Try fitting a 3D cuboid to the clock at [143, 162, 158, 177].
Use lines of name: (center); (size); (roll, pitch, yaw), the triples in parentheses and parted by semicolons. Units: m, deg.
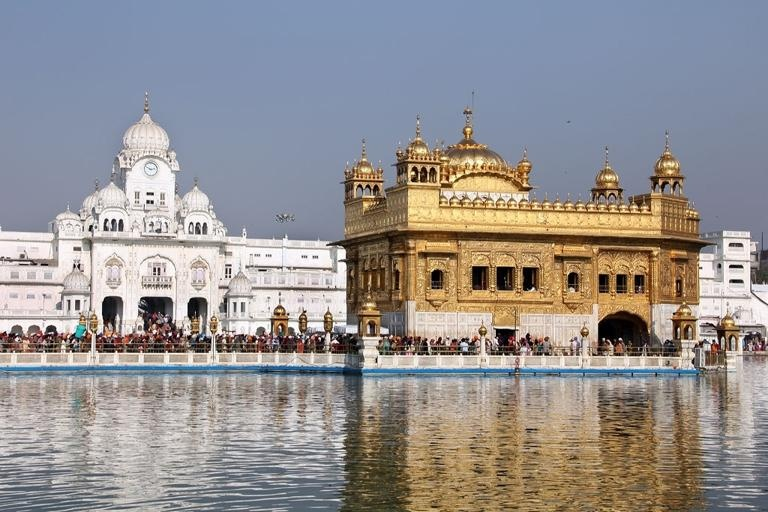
clock: (-17.216, -6.563, 131.894); (1.277, 1.077, 0.275); (1, 0, -19)
